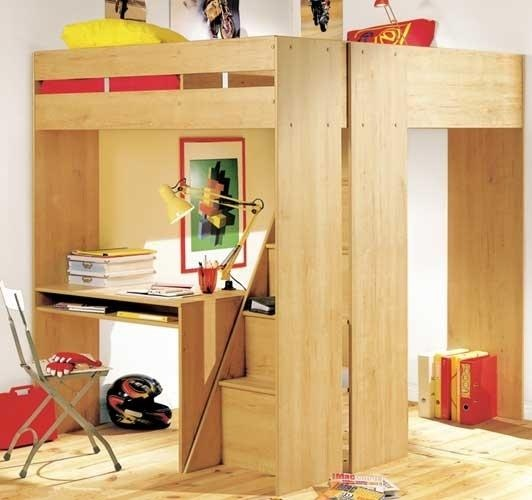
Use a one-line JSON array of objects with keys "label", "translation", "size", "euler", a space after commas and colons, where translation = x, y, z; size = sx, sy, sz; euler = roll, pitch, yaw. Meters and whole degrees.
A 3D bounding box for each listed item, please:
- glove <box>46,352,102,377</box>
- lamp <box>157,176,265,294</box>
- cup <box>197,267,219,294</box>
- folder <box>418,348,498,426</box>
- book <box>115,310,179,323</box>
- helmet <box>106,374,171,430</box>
[{"label": "glove", "translation": [-1.040, 0.589, 3.466], "size": [0.279, 0.089, 0.294], "euler": [-1, 2, -29]}, {"label": "lamp", "translation": [-0.379, -0.118, 4.327], "size": [0.671, 0.704, 1.410], "euler": [0, 2, -1]}, {"label": "cup", "translation": [-0.341, 0.167, 3.660], "size": [0.126, 0.153, 0.126], "euler": [-1, 1, 0]}, {"label": "folder", "translation": [1.233, 0.789, 4.385], "size": [0.547, 0.542, 0.412], "euler": [-2, 3, -44]}, {"label": "book", "translation": [-0.655, 0.351, 3.516], "size": [0.387, 0.040, 0.109], "euler": [1, 2, 34]}, {"label": "helmet", "translation": [-0.800, 0.920, 4.128], "size": [0.375, 0.305, 0.287], "euler": [2, 3, -2]}]
